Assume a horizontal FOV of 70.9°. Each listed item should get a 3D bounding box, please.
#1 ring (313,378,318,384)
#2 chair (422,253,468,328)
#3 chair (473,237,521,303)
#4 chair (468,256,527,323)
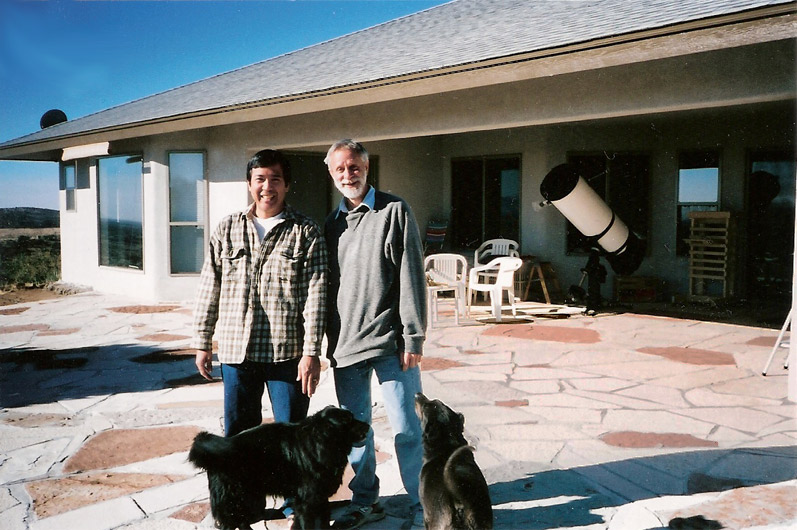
[{"bbox_3d":[-0.546,0.772,3.726,0.031,0.031,0.035,5,-13,-41],"label":"ring"},{"bbox_3d":[0.707,0.355,8.687,0.843,1.003,0.759,0,-1,4],"label":"chair"},{"bbox_3d":[2.009,-0.108,11.330,0.907,1.063,0.831,0,-13,28],"label":"chair"},{"bbox_3d":[1.645,0.255,9.213,0.729,0.757,0.688,11,18,20],"label":"chair"}]
